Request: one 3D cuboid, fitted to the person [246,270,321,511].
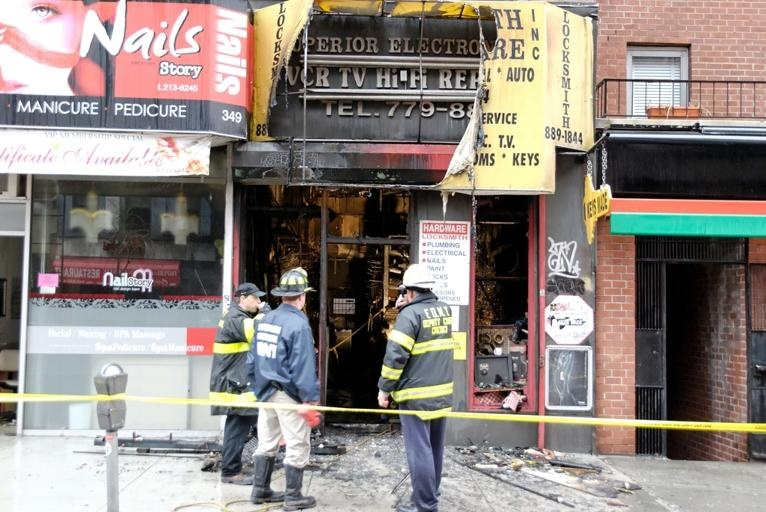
[{"bbox_3d":[-1.437,1.980,17.617,1.114,3.621,0.630,0,-5,13],"label":"person"}]

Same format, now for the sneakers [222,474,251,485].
[{"bbox_3d":[-2.214,3.450,18.091,0.413,0.195,0.170,-1,-6,-1],"label":"sneakers"}]

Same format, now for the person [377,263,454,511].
[{"bbox_3d":[0.502,1.966,17.513,1.065,3.694,0.528,2,-5,-5],"label":"person"}]

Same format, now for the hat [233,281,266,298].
[{"bbox_3d":[-2.023,0.520,18.410,0.385,0.202,0.244,3,-1,-12],"label":"hat"}]
